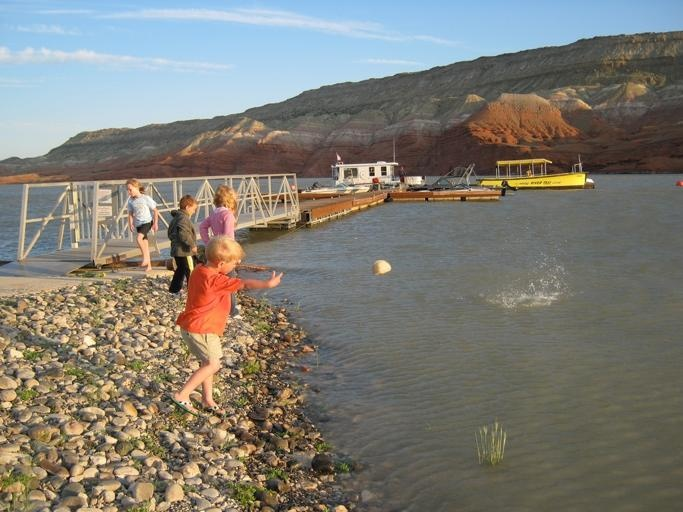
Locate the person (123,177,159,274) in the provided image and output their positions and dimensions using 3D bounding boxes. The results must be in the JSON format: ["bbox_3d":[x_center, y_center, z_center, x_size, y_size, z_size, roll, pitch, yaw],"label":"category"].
[{"bbox_3d":[-4.431,-0.669,13.612,0.619,2.197,1.168,-7,16,-18],"label":"person"}]

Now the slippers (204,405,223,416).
[{"bbox_3d":[-1.725,2.111,8.198,0.287,0.093,0.111,10,35,-27],"label":"slippers"}]

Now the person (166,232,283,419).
[{"bbox_3d":[-1.560,0.966,7.758,1.400,2.541,0.880,-1,16,3],"label":"person"}]

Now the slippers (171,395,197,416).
[{"bbox_3d":[-2.054,1.965,7.920,0.481,0.143,0.168,32,22,-34],"label":"slippers"}]
